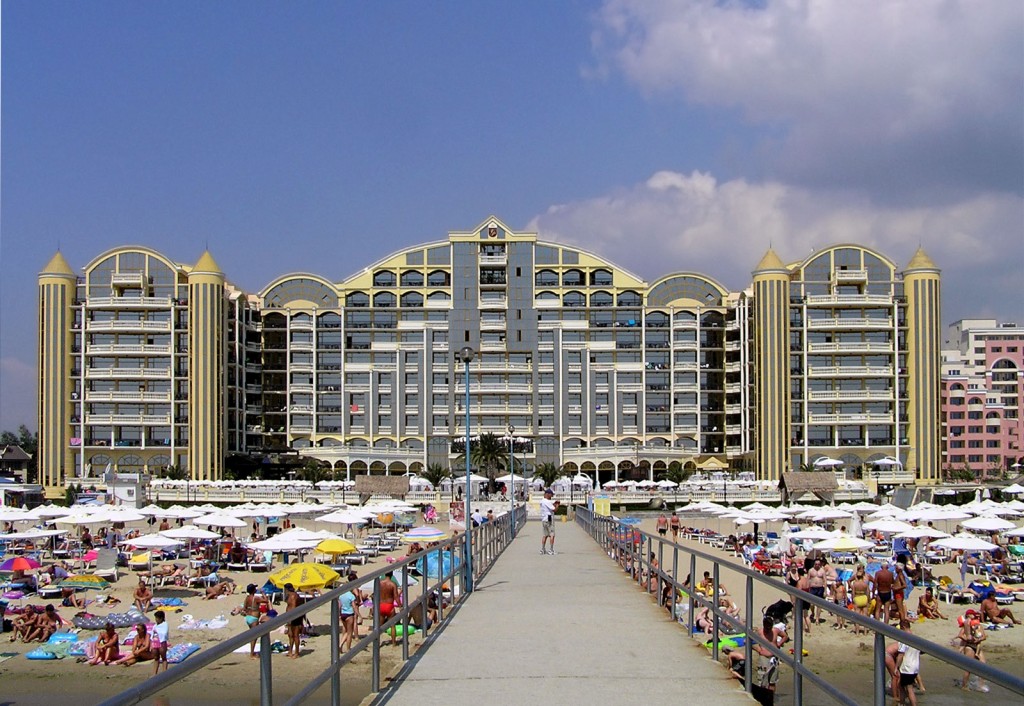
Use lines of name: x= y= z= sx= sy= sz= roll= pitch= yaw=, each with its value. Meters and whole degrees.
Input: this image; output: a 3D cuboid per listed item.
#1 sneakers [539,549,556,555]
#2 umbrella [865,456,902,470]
sneakers: x=1.461 y=7.796 z=50.364 sx=0.583 sy=0.228 sz=0.202 roll=-3 pitch=-3 yaw=-5
umbrella: x=36.123 y=10.478 z=122.752 sx=2.458 sy=0.963 sz=2.516 roll=0 pitch=-6 yaw=-1
